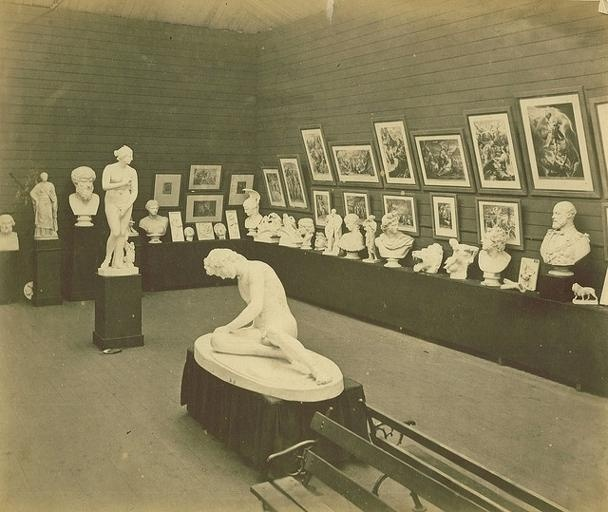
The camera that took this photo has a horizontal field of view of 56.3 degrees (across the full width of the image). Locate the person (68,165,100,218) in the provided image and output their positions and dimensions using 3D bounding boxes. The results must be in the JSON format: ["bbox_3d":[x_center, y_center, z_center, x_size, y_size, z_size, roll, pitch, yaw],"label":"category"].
[{"bbox_3d":[-4.005,-1.134,10.309,0.495,0.943,0.583,-3,9,-22],"label":"person"}]

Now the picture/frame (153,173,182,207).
[{"bbox_3d":[-2.841,-1.378,11.694,0.665,0.916,0.068,-3,13,-32],"label":"picture/frame"}]

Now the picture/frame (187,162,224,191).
[{"bbox_3d":[-2.129,-1.697,12.043,0.588,0.471,0.028,-4,13,-39],"label":"picture/frame"}]

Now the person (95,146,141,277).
[{"bbox_3d":[-2.644,-0.678,8.054,0.550,1.747,0.990,-2,9,-17],"label":"person"}]

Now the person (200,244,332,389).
[{"bbox_3d":[-0.299,0.478,5.124,1.451,1.075,0.646,9,12,38],"label":"person"}]

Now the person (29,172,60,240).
[{"bbox_3d":[-4.569,-0.866,9.961,0.398,1.162,0.416,-4,9,-28],"label":"person"}]
